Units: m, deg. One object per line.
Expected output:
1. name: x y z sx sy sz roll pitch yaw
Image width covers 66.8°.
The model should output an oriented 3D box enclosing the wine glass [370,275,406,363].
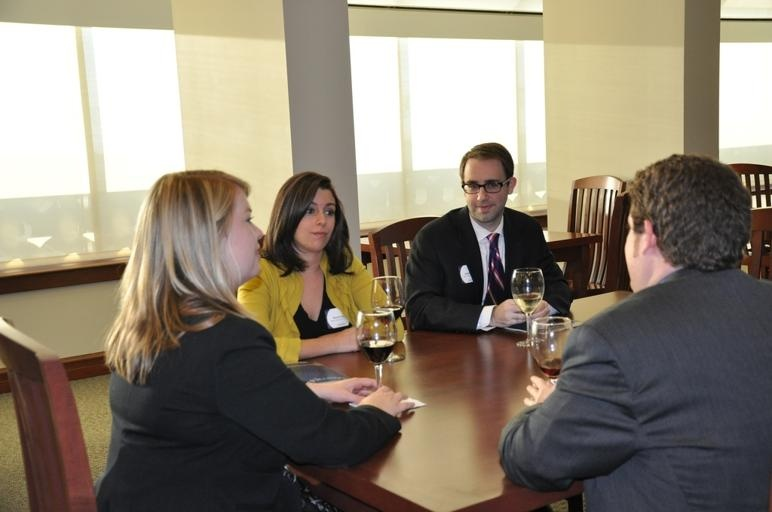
1. wine glass: 0.013 0.218 2.203 0.095 0.248 0.096 1 -4 10

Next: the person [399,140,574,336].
1. person: 0.503 0.143 2.792 0.800 1.301 0.667 -4 6 -4

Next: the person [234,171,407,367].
1. person: -0.201 0.097 2.646 0.854 0.993 0.650 -4 1 -43
